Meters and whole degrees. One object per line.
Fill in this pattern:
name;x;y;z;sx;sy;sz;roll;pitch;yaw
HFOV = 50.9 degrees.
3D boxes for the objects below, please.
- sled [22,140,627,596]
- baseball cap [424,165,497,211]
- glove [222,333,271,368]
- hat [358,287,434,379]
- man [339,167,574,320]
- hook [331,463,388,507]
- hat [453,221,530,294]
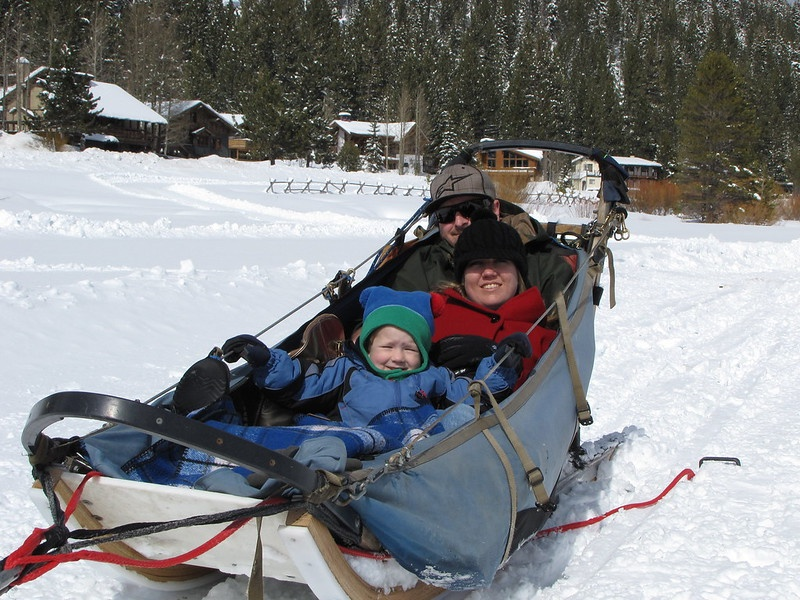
sled;-0.007;0.590;4.630;1.576;1.261;3.352;9;33;27
baseball cap;0.435;-0.850;6.246;0.447;0.351;0.641;-8;3;18
glove;-0.776;0.244;4.264;0.138;0.090;0.195;10;9;27
hat;-0.007;0.189;4.873;0.380;0.506;0.505;17;-12;8
man;0.442;-0.473;5.795;0.925;0.627;1.395;1;9;21
hook;-0.187;0.841;3.764;0.237;0.197;0.127;3;6;-8
hat;0.604;-0.298;5.536;0.459;0.415;0.401;-5;7;-3
